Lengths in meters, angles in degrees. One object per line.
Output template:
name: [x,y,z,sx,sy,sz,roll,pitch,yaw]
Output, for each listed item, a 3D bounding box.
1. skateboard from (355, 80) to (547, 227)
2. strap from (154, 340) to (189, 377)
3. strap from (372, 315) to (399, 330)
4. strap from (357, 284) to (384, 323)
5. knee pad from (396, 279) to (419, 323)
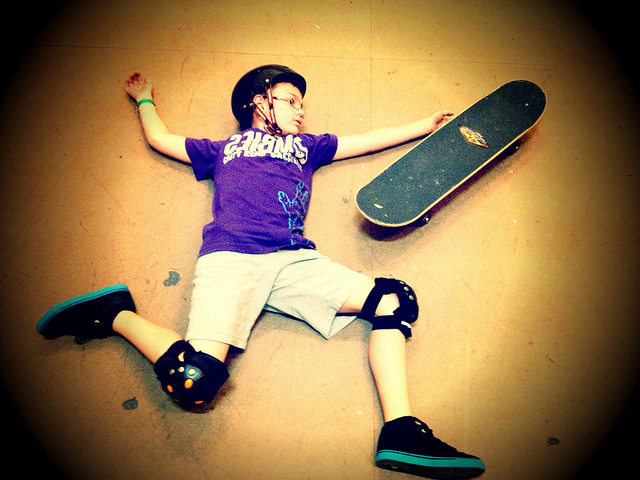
skateboard: [0.850,-0.566,3.937,1.459,0.081,0.374,-38,76,-10]
strap: [-0.831,0.641,3.424,0.240,0.049,0.116,-45,64,-1]
strap: [0.379,0.471,3.577,0.141,0.059,0.078,1,73,1]
strap: [0.290,0.355,3.612,0.078,0.045,0.254,29,87,-9]
knee pad: [0.507,0.304,3.597,0.029,0.114,0.162,-36,29,21]
